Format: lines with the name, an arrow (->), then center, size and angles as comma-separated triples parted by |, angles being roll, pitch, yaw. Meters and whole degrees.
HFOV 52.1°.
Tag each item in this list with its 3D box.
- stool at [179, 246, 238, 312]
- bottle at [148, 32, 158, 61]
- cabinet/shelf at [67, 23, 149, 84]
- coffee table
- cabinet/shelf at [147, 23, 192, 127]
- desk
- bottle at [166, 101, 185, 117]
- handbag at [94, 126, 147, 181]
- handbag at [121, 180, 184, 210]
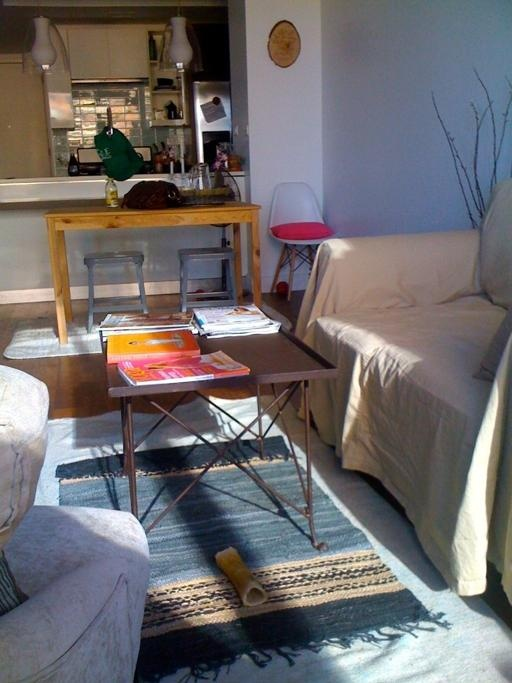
stool -> -0.370, -0.488, 4.195 | 0.597, 0.573, 0.583 | -3, 16, -10
bottle -> -1.283, -3.690, 6.519 | 0.072, 0.344, 0.139 | 10, 17, 39
cabinet/shelf -> -1.801, -3.574, 6.619 | 0.995, 0.613, 0.496 | -1, 12, 0
coffee table -> -0.131, 0.230, 1.482 | 0.566, 0.453, 0.633 | -2, 14, -9
cabinet/shelf -> -1.165, -3.304, 6.538 | 0.385, 1.012, 0.254 | -13, 34, -14
desk -> -0.712, -0.556, 3.804 | 1.421, 0.861, 0.714 | -9, 23, -19
bottle -> -1.059, -2.983, 6.728 | 0.261, 0.251, 0.152 | -9, 27, -18
handbag -> -0.974, -1.343, 3.724 | 0.309, 0.369, 0.189 | -5, 14, -18
handbag -> -0.700, -0.973, 3.469 | 0.427, 0.190, 0.230 | -2, 13, -4
